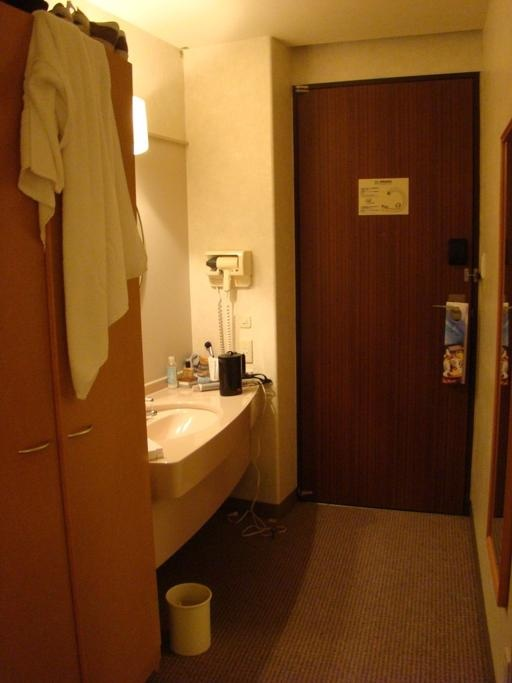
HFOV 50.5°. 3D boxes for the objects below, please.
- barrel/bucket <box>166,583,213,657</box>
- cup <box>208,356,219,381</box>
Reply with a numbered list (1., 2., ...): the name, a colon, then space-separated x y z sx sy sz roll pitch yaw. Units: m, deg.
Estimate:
1. barrel/bucket: -0.205 0.973 1.884 0.151 0.190 0.222 9 48 -19
2. cup: -0.205 0.128 2.612 0.037 0.110 0.094 -5 7 -37
